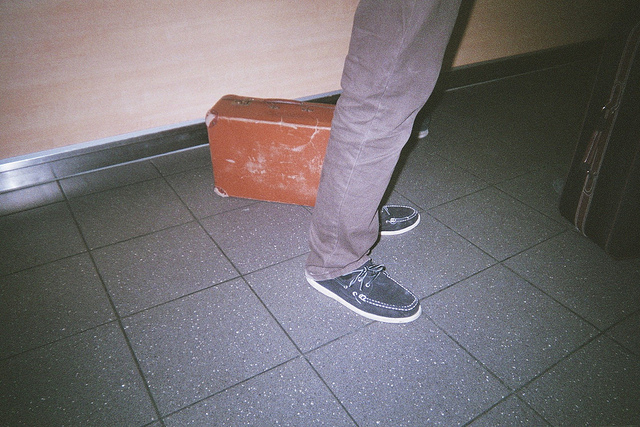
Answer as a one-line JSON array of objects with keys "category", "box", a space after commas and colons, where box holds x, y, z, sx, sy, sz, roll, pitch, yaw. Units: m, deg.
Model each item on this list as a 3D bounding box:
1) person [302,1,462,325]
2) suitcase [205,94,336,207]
[{"category": "person", "box": [0.187, -0.151, 1.790, 0.524, 1.145, 0.654, 4, 47, 4]}, {"category": "suitcase", "box": [-0.238, -0.293, 2.270, 0.579, 0.467, 0.206, 7, 33, 3]}]
